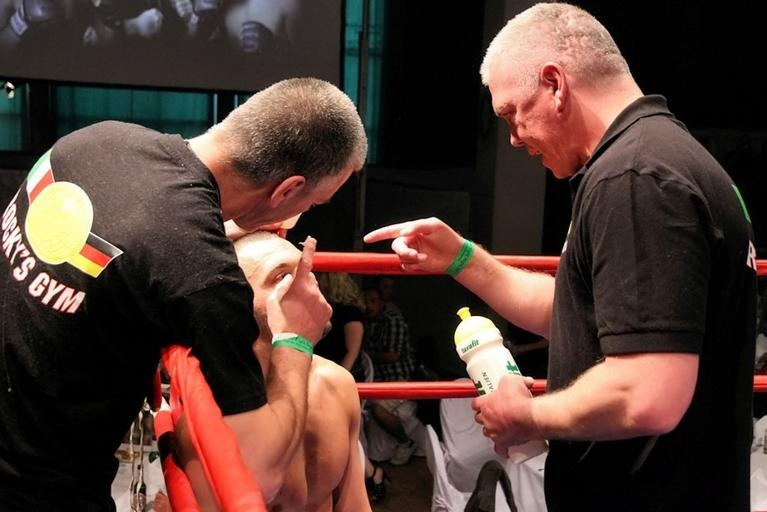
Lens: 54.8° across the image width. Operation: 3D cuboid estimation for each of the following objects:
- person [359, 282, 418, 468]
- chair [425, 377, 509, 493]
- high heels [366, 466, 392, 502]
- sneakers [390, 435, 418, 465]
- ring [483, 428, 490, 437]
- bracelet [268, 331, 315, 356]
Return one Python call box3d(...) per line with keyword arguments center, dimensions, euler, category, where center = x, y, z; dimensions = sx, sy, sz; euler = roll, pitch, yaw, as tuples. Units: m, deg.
box3d(center=(0.020, 0.791, 4.802), dimensions=(0.442, 0.386, 1.201), euler=(0, 34, -7), category="person")
box3d(center=(0.400, 1.040, 4.244), dimensions=(0.305, 0.377, 0.982), euler=(-18, -6, -2), category="chair")
box3d(center=(-0.027, 1.376, 4.537), dimensions=(0.081, 0.093, 0.267), euler=(14, 35, -15), category="high heels")
box3d(center=(0.138, 1.285, 4.879), dimensions=(0.093, 0.235, 0.102), euler=(43, 8, 27), category="sneakers")
box3d(center=(0.338, 0.570, 2.417), dimensions=(0.026, 0.025, 0.026), euler=(-1, 1, 0), category="ring")
box3d(center=(-0.280, 0.257, 2.261), dimensions=(0.087, 0.033, 0.085), euler=(12, -7, -23), category="bracelet")
